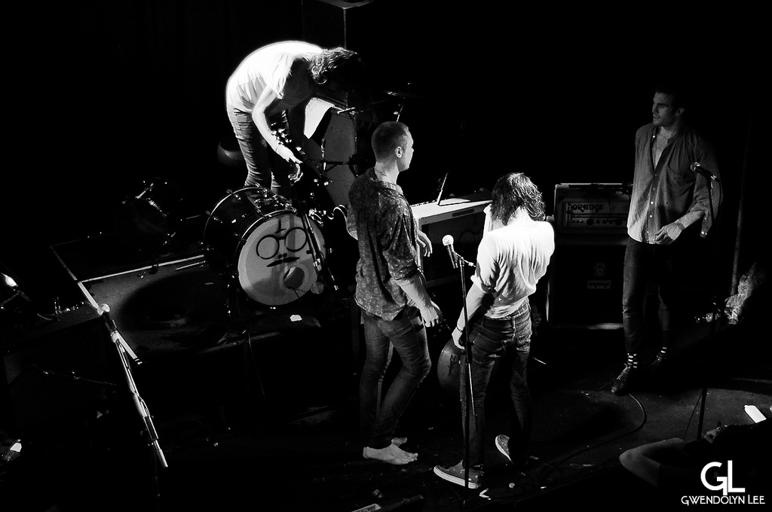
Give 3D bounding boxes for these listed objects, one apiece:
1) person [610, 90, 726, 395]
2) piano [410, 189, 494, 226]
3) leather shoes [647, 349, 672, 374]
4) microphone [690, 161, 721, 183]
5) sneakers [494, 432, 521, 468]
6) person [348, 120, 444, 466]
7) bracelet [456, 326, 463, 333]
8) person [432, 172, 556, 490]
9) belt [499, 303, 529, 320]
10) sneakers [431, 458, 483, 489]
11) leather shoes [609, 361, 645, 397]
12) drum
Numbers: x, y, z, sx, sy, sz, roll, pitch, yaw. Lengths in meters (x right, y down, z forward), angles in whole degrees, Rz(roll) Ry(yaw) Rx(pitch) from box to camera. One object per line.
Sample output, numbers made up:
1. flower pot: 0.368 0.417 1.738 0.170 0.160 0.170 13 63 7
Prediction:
1. person: 2.383 -0.137 5.846 0.849 2.558 0.559 -3 14 0
2. piano: 0.566 -0.463 6.402 0.494 0.145 0.340 -20 22 -11
3. leather shoes: 2.474 0.942 6.110 0.064 0.250 0.153 19 14 -3
4. microphone: 2.628 -0.692 5.622 0.311 0.100 0.086 32 14 -5
5. sneakers: 0.924 1.499 5.278 0.094 0.106 0.251 15 32 -38
6. person: 0.058 0.352 4.917 0.597 2.586 0.339 -4 14 -4
7. bracelet: 0.524 0.518 4.865 0.035 0.034 0.043 35 -29 -32
8. person: 0.766 0.554 4.923 0.827 2.265 0.506 -11 16 -30
9. belt: 0.931 0.377 4.837 0.140 0.051 0.100 -20 -1 -32
10. sneakers: 0.517 1.587 5.072 0.405 0.177 0.162 10 -7 35
11. leather shoes: 2.116 1.085 5.946 0.150 0.188 0.482 38 44 -6
12. drum: -1.087 -0.126 6.018 0.831 1.019 0.613 -5 37 -44
